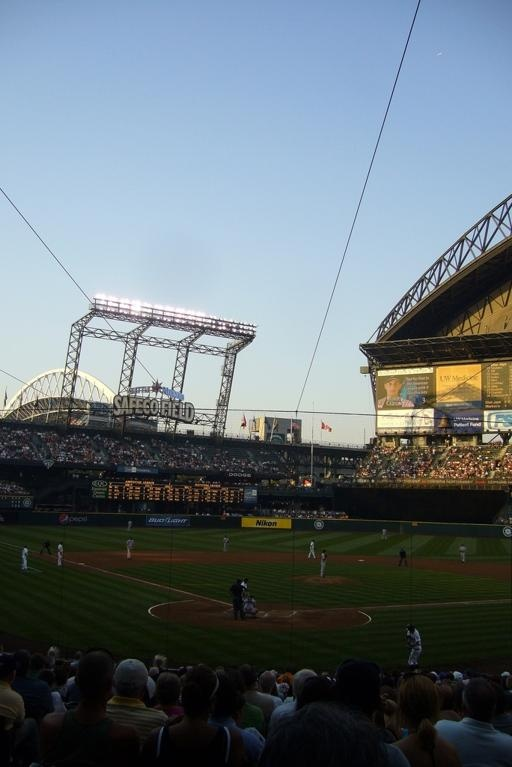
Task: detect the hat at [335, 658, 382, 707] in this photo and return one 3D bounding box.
[{"bbox_3d":[0.499,1.487,3.754,0.225,0.228,0.194,8,-11,-8],"label":"hat"}]

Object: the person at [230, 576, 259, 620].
[{"bbox_3d":[-0.326,5.964,21.153,0.767,0.980,1.615,6,-10,2],"label":"person"}]
